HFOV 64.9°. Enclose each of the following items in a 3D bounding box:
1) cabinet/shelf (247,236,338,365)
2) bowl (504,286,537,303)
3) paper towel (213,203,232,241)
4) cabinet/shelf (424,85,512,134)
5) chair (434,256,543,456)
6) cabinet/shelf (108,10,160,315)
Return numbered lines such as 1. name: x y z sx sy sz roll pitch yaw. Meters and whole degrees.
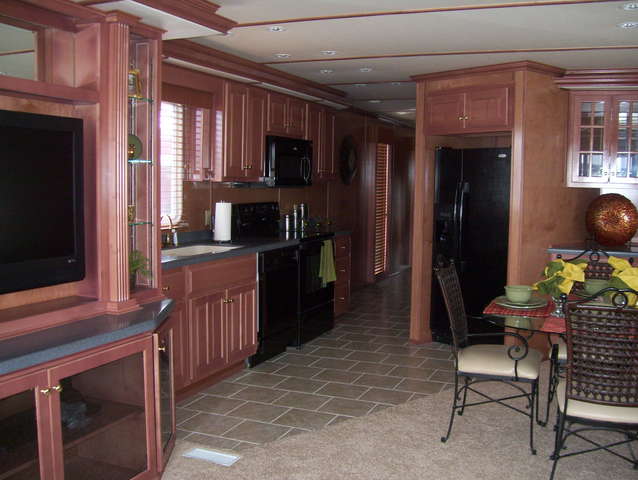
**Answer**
1. cabinet/shelf: -0.296 0.601 4.989 0.503 0.845 1.248 1 6 23
2. bowl: 1.384 0.371 3.443 0.181 0.076 0.113 0 2 2
3. paper towel: -0.889 -0.167 4.795 0.219 0.357 0.203 1 3 -4
4. cabinet/shelf: 1.499 -1.284 4.953 0.631 0.274 0.208 2 3 40
5. chair: 1.274 0.788 3.589 0.898 1.130 0.882 -2 4 -39
6. cabinet/shelf: -1.110 -0.449 2.993 0.166 1.591 0.489 2 8 12
